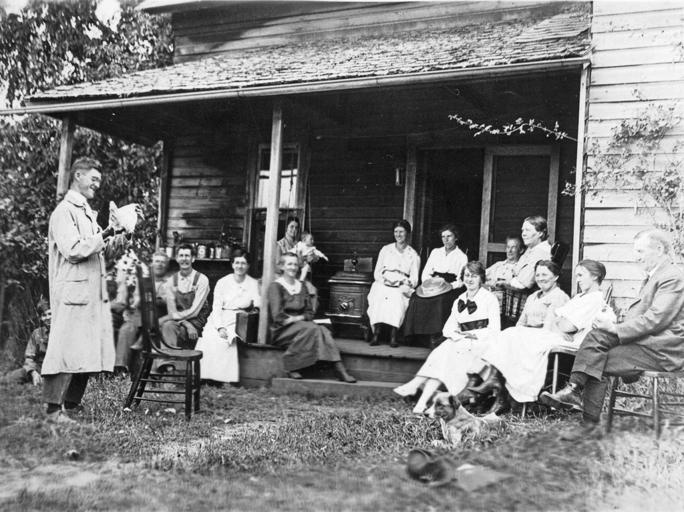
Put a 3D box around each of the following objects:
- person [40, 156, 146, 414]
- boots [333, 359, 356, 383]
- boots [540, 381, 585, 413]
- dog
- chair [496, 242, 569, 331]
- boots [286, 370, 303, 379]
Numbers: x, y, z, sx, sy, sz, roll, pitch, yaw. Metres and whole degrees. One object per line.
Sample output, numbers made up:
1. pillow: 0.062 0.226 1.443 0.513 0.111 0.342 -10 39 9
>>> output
1. person: -2.552 0.288 6.514 0.794 2.498 0.901 -2 7 -19
2. boots: 0.008 1.368 7.740 0.330 0.242 0.142 0 5 44
3. boots: 2.010 1.287 5.999 0.437 0.326 0.186 8 -37 14
4. dog: 1.210 1.505 5.908 0.873 0.545 0.303 5 -12 -11
5. chair: 2.158 0.164 8.156 0.781 1.377 0.709 12 12 7
6. boots: -0.573 1.408 7.842 0.118 0.109 0.098 -9 -12 44
